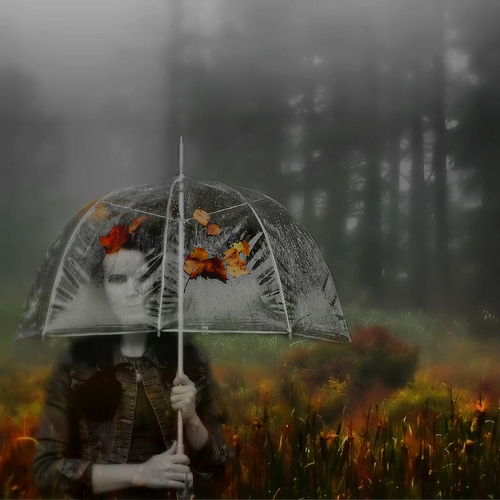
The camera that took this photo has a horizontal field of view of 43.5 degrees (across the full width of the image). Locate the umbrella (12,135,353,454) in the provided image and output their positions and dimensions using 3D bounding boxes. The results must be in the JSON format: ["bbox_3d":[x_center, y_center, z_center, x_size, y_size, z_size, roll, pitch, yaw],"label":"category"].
[{"bbox_3d":[-0.300,0.365,2.896,1.423,1.312,1.466,2,-8,-41],"label":"umbrella"}]
